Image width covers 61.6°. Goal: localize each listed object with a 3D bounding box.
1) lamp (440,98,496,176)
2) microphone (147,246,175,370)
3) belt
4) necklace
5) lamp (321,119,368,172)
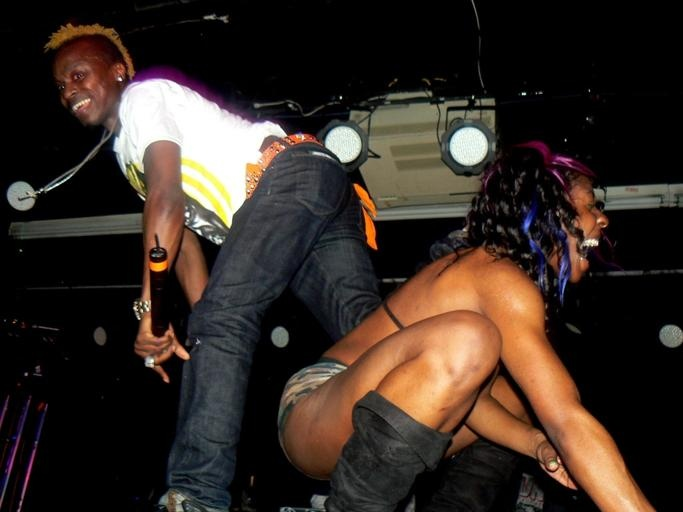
[{"bbox_3d":[0.899,-0.810,4.080,0.498,0.690,0.214,0,10,8],"label":"lamp"},{"bbox_3d":[-0.720,0.148,2.262,0.080,0.405,0.208,-3,14,-18],"label":"microphone"},{"bbox_3d":[-0.278,-0.394,2.570,0.317,0.242,0.105,-42,-4,-7],"label":"belt"},{"bbox_3d":[-2.321,-0.794,4.726,0.291,0.978,0.076,44,17,5],"label":"necklace"},{"bbox_3d":[0.037,-0.842,4.240,0.445,0.471,0.147,7,7,13],"label":"lamp"}]
